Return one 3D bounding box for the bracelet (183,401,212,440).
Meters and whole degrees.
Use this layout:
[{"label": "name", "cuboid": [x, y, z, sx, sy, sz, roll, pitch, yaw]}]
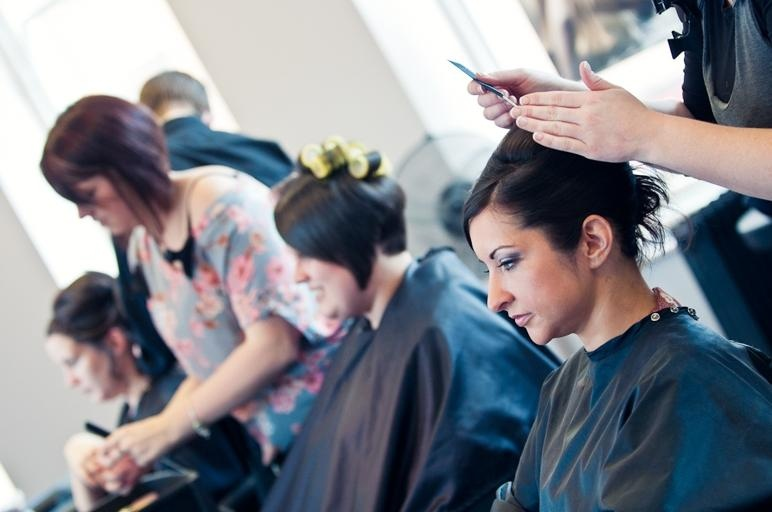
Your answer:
[{"label": "bracelet", "cuboid": [-0.528, 0.458, 1.962, 0.027, 0.085, 0.060, -32, 24, -28]}]
